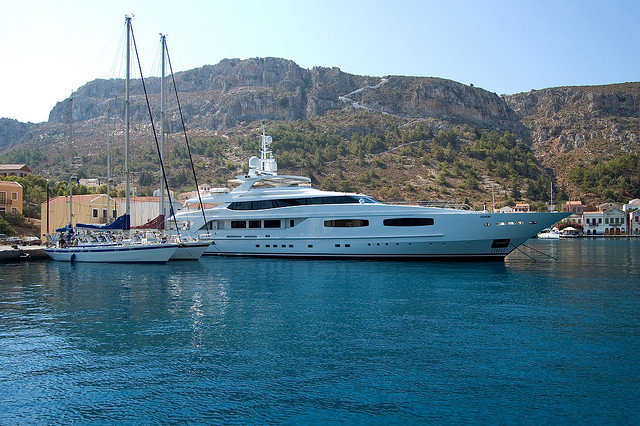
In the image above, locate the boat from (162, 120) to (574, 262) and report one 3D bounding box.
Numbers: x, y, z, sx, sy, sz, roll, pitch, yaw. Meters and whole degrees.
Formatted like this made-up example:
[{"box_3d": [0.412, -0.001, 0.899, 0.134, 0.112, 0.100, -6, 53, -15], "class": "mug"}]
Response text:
[{"box_3d": [2.097, -0.885, 52.675, 33.072, 7.881, 7.613, 0, 10, 26], "class": "boat"}]
